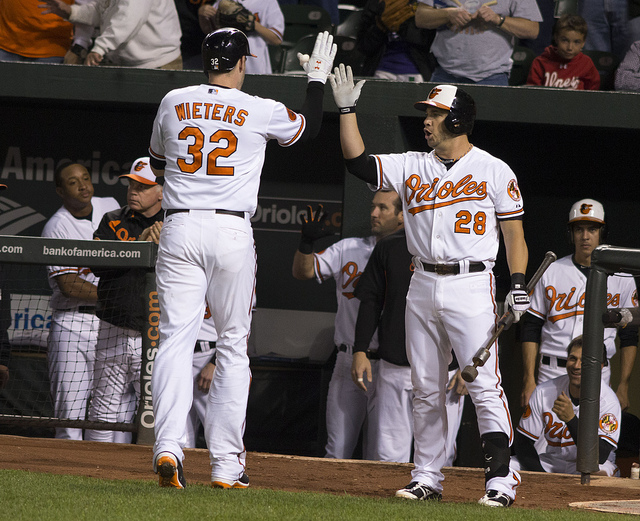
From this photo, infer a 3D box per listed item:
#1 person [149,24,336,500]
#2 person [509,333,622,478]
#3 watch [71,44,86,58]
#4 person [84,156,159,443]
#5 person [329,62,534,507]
[{"bbox_3d":[-0.538,-0.039,6.627,0.874,2.534,0.574,5,-3,-8],"label":"person"},{"bbox_3d":[1.636,1.034,8.006,0.869,0.963,0.632,3,3,27],"label":"person"},{"bbox_3d":[-1.881,-1.626,9.309,0.107,0.090,0.089,-14,15,-24],"label":"watch"},{"bbox_3d":[-1.329,0.267,7.907,0.457,1.891,1.329,5,-3,-11],"label":"person"},{"bbox_3d":[0.753,0.185,7.143,1.058,2.400,1.082,3,-3,16],"label":"person"}]
